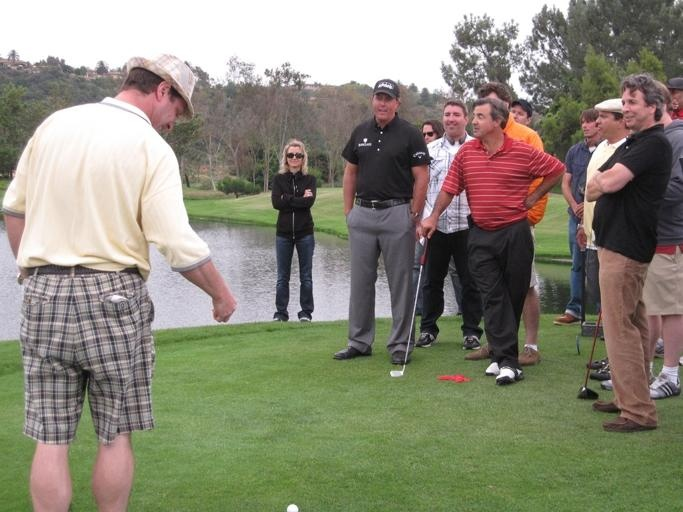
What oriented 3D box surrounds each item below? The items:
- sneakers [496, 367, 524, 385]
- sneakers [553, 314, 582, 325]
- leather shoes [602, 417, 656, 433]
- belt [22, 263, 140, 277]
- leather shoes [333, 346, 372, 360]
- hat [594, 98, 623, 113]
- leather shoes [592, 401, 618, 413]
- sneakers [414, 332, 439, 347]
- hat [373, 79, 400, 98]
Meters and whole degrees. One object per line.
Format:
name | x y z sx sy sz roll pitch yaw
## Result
sneakers | 1.359 0.982 5.505 0.104 0.120 0.248 -8 -11 29
sneakers | 2.821 0.808 8.427 0.352 0.144 0.127 7 -8 -25
leather shoes | 1.896 1.124 4.480 0.322 0.111 0.126 2 -10 4
belt | -1.326 0.076 3.438 0.559 0.079 0.134 -2 8 -4
leather shoes | 0.112 0.953 6.549 0.376 0.143 0.124 9 -14 -31
hat | 2.351 -1.311 5.926 0.247 0.080 0.273 -1 6 1
leather shoes | 1.893 1.084 4.846 0.137 0.055 0.078 4 0 9
sneakers | 0.909 0.897 7.191 0.140 0.141 0.366 -2 -7 21
hat | 0.437 -1.570 6.379 0.249 0.171 0.337 -2 8 -5
